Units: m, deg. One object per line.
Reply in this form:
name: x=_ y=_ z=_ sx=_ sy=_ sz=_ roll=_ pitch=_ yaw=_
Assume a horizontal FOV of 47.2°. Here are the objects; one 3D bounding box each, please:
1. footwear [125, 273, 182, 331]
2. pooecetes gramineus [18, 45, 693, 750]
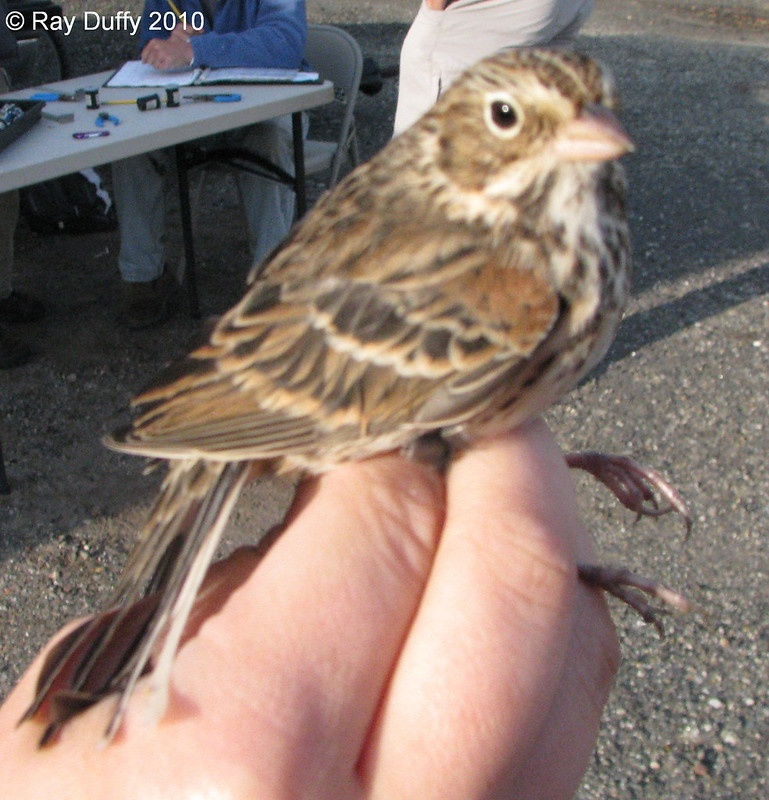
footwear: x=-1.121 y=-0.466 z=4.256 sx=0.220 sy=0.285 sz=0.257 roll=-27 pitch=44 yaw=-34
pooecetes gramineus: x=-0.157 y=-0.002 z=1.556 sx=1.395 sy=0.878 sz=0.775 roll=-19 pitch=33 yaw=8
